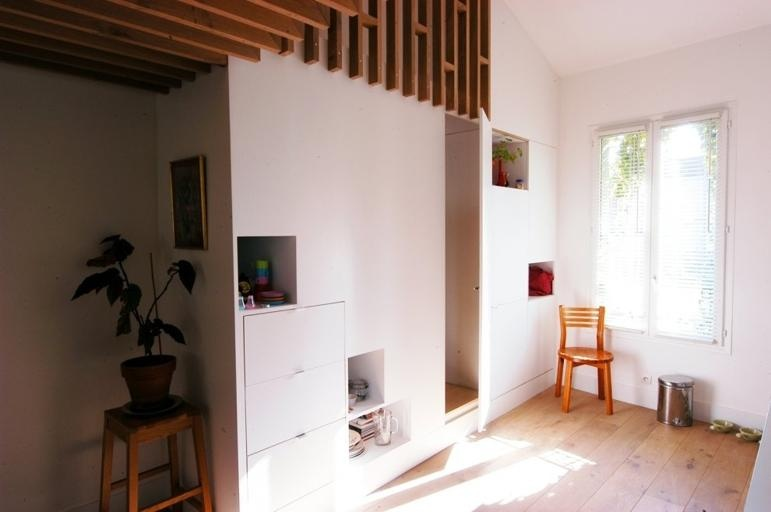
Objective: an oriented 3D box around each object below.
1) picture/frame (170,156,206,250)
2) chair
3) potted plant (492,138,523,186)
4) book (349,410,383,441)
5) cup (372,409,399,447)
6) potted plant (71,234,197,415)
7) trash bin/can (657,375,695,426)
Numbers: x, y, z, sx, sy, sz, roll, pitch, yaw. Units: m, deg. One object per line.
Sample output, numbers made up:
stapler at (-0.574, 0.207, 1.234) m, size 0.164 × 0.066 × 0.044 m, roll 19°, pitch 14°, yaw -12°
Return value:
picture/frame at (-1.471, -0.404, 4.095) m, size 0.094 × 0.907 × 0.699 m, roll 0°, pitch -1°, yaw -41°
chair at (2.100, 1.078, 5.859) m, size 0.602 × 1.069 × 0.798 m, roll -3°, pitch 2°, yaw 21°
potted plant at (1.240, -0.964, 5.832) m, size 0.296 × 0.517 × 0.399 m, roll -1°, pitch 3°, yaw 45°
book at (-0.171, 1.445, 4.750) m, size 0.283 × 0.087 × 0.213 m, roll -11°, pitch 12°, yaw -33°
cup at (0.003, 1.460, 4.742) m, size 0.236 × 0.185 × 0.171 m, roll -4°, pitch 2°, yaw -20°
potted plant at (-1.810, 0.496, 4.556) m, size 1.196 × 1.487 × 1.087 m, roll -1°, pitch 0°, yaw 29°
trash bin/can at (2.934, 1.460, 5.525) m, size 0.387 × 0.397 × 0.392 m, roll 2°, pitch -3°, yaw 10°
